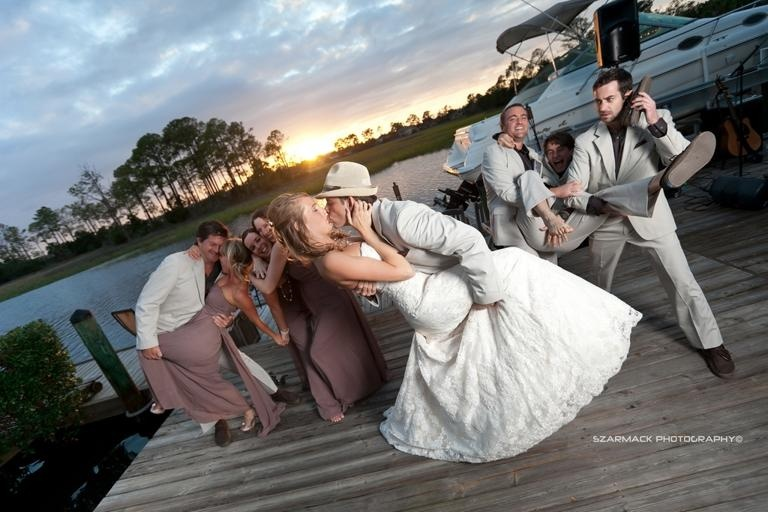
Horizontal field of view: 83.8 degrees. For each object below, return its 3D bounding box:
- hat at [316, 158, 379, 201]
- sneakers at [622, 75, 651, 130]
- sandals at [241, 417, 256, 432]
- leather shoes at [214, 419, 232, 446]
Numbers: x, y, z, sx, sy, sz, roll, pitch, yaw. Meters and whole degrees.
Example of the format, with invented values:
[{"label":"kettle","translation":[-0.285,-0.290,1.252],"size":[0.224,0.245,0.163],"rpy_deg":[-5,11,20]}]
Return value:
[{"label":"hat","translation":[-0.334,-0.675,3.822],"size":[0.457,0.230,0.322],"rpy_deg":[-2,5,-38]},{"label":"sneakers","translation":[2.408,-1.491,4.177],"size":[0.176,0.149,0.596],"rpy_deg":[22,80,40]},{"label":"sandals","translation":[-1.570,1.976,5.021],"size":[0.064,0.113,0.206],"rpy_deg":[-5,-24,-46]},{"label":"leather shoes","translation":[-1.839,2.018,4.904],"size":[0.125,0.116,0.345],"rpy_deg":[-8,14,-21]}]
